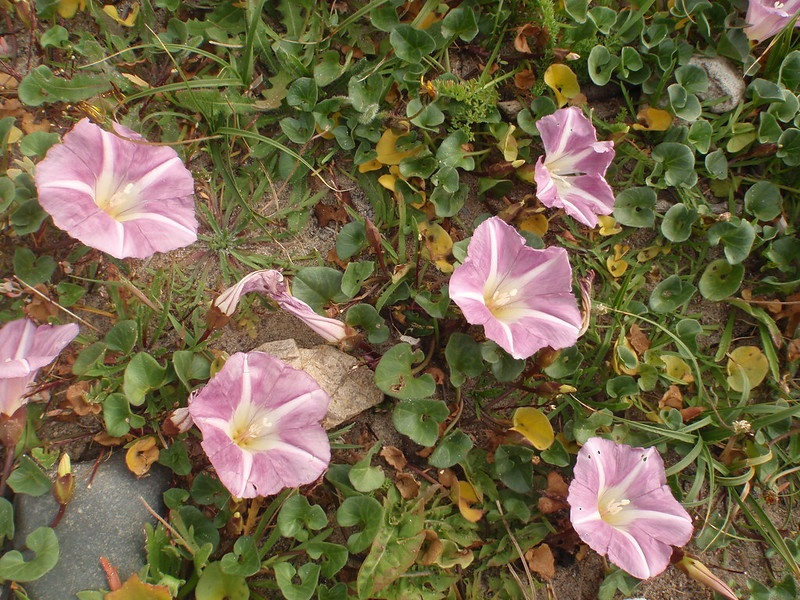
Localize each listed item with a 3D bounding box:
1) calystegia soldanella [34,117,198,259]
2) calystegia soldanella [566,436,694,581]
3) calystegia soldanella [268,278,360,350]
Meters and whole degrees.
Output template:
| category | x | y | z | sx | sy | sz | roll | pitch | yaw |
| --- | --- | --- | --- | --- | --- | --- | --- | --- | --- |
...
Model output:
| category | x | y | z | sx | sy | sz | roll | pitch | yaw |
| --- | --- | --- | --- | --- | --- | --- | --- | --- | --- |
| calystegia soldanella | -1.435 | -0.565 | 3.356 | 0.748 | 0.682 | 0.318 | -4 | 82 | 32 |
| calystegia soldanella | 1.061 | 1.045 | 3.336 | 0.582 | 0.301 | 0.681 | -11 | 53 | -18 |
| calystegia soldanella | -0.404 | 0.105 | 3.460 | 0.625 | 0.182 | 0.198 | 31 | 24 | -19 |
